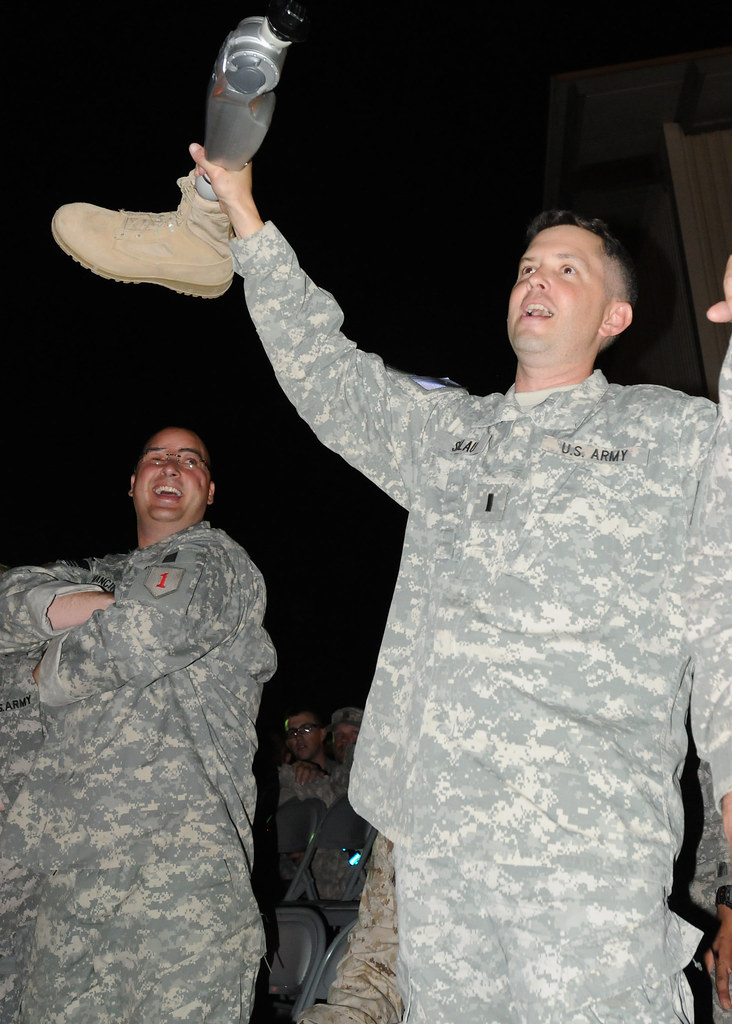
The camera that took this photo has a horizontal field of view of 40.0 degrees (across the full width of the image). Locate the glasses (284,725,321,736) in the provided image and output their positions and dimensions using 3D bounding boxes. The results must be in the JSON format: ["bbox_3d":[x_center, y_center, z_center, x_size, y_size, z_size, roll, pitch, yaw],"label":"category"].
[{"bbox_3d":[-0.345,1.193,5.501,0.093,0.026,0.091,-8,-34,14],"label":"glasses"}]

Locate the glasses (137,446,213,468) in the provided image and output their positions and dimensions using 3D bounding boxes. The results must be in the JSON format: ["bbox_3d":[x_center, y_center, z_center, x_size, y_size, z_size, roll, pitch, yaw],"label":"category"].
[{"bbox_3d":[-0.563,-0.164,2.974,0.145,0.056,0.180,1,-2,8],"label":"glasses"}]
